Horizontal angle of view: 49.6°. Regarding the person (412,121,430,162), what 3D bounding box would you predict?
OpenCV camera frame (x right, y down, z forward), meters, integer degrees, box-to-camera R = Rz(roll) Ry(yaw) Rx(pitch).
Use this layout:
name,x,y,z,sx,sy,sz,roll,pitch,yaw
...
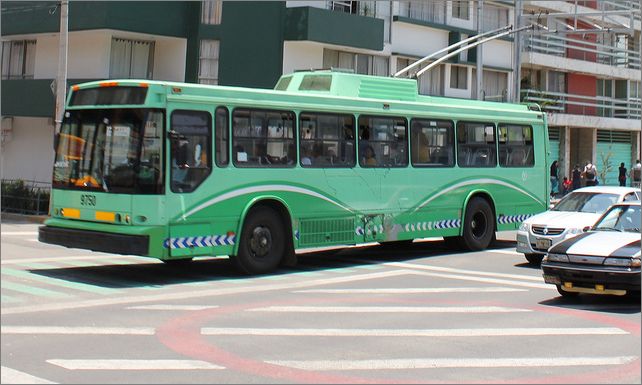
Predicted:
name,x,y,z,sx,sy,sz,roll,pitch,yaw
person,3.108,-1.627,20.843,0.383,0.400,1.212,-1,-21,25
